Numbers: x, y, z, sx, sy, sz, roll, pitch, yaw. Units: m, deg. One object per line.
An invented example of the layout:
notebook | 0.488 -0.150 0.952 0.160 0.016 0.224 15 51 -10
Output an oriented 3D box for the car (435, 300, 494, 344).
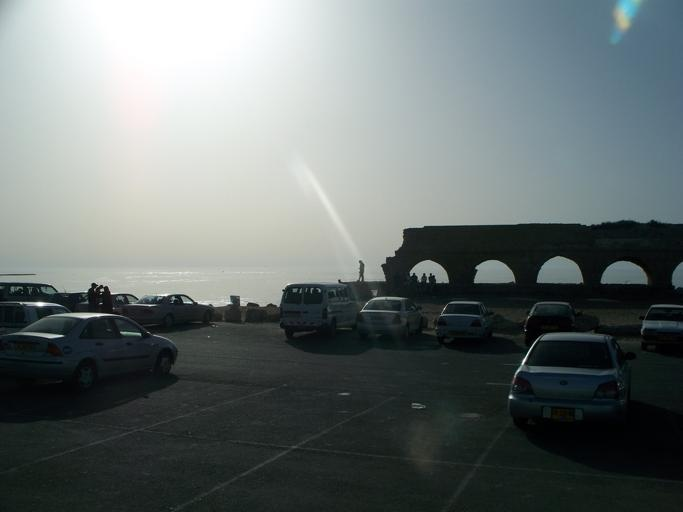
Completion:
car | 4.453 2.462 21.978 1.560 1.352 2.116 0 0 26

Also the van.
van | -0.834 1.876 23.340 1.751 1.470 3.143 0 6 22

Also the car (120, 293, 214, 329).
car | -7.772 2.449 26.805 1.446 0.937 3.234 2 3 32

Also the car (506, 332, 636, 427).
car | 4.042 2.226 10.384 2.155 1.351 1.586 0 0 -36

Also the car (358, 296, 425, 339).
car | 1.885 2.393 23.048 1.497 1.423 2.931 0 0 29
